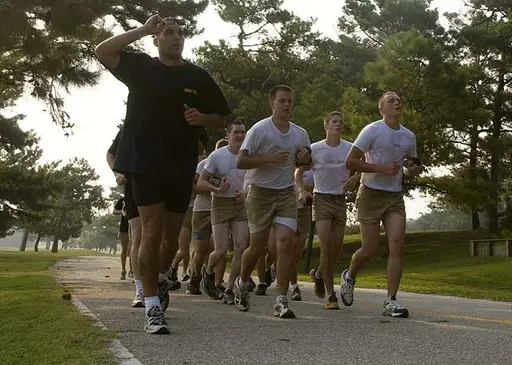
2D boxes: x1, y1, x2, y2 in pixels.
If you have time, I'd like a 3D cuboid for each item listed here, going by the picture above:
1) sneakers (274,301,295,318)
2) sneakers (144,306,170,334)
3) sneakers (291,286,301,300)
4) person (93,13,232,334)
[{"bbox_3d":[0.363,1.627,5.403,0.245,0.207,0.311,6,-7,-13],"label":"sneakers"},{"bbox_3d":[-0.979,1.349,4.153,0.204,0.223,0.345,8,-8,-30],"label":"sneakers"},{"bbox_3d":[0.754,2.101,8.046,0.134,0.183,0.362,0,-1,-5],"label":"sneakers"},{"bbox_3d":[-1.029,-0.144,4.438,0.797,3.238,1.211,-2,-9,42],"label":"person"}]
